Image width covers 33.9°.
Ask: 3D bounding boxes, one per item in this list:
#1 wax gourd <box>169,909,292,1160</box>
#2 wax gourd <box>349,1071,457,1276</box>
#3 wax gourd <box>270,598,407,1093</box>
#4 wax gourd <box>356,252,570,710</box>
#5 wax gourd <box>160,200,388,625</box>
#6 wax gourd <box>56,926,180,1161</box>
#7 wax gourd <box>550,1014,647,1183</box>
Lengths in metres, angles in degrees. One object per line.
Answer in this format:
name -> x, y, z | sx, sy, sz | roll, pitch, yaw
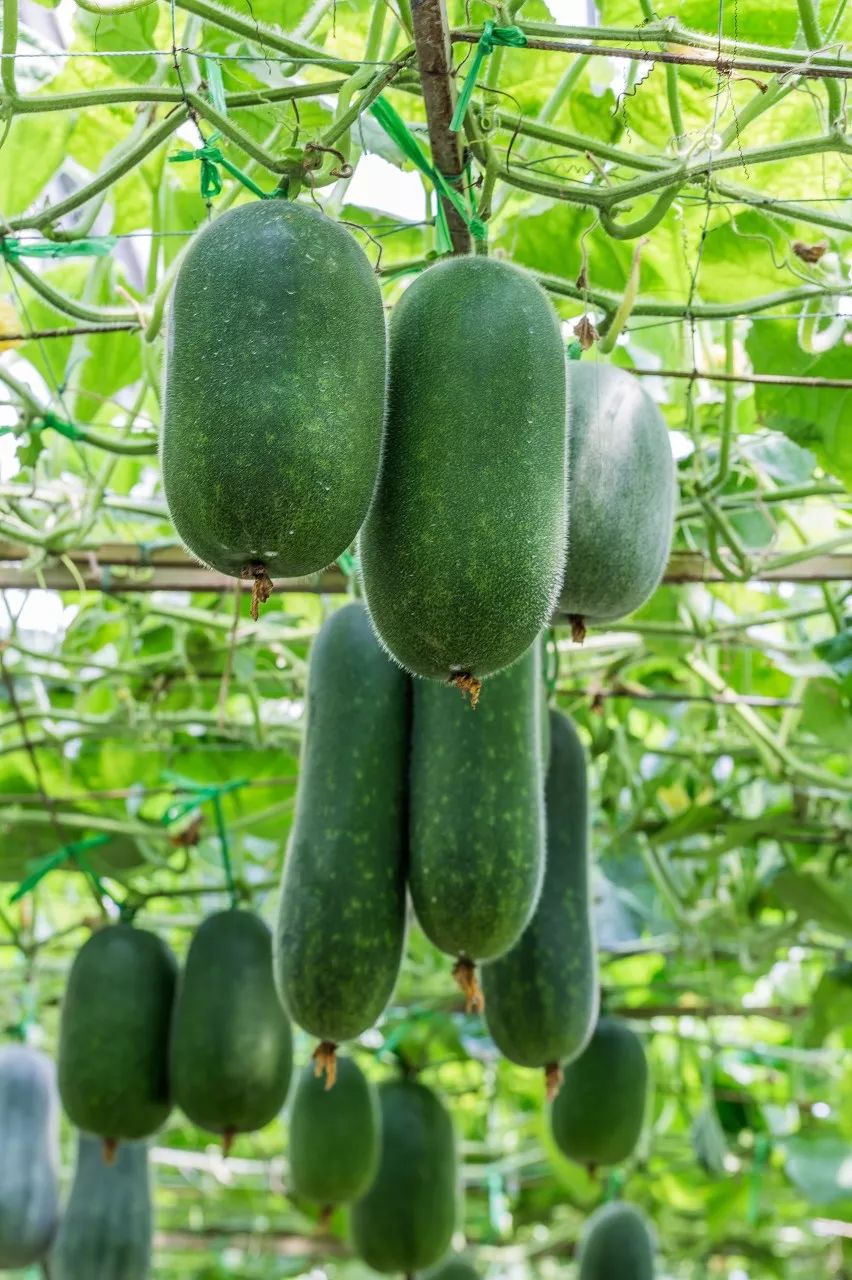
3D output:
wax gourd -> -0.319, 0.643, 2.287 | 0.186, 0.366, 0.194 | 11, -19, -37
wax gourd -> -0.037, 0.968, 2.514 | 0.183, 0.289, 0.245 | 3, -5, 3
wax gourd -> -0.117, 0.247, 1.878 | 0.153, 0.613, 0.232 | 7, -6, -32
wax gourd -> 0.034, -0.171, 1.313 | 0.181, 0.393, 0.108 | 4, -5, -5
wax gourd -> -0.138, -0.223, 1.254 | 0.196, 0.374, 0.108 | 4, -5, 0
wax gourd -> -0.516, 0.666, 2.330 | 0.187, 0.344, 0.265 | 5, -6, -12
wax gourd -> 0.314, 0.814, 2.522 | 0.169, 0.260, 0.089 | 7, -41, 9
